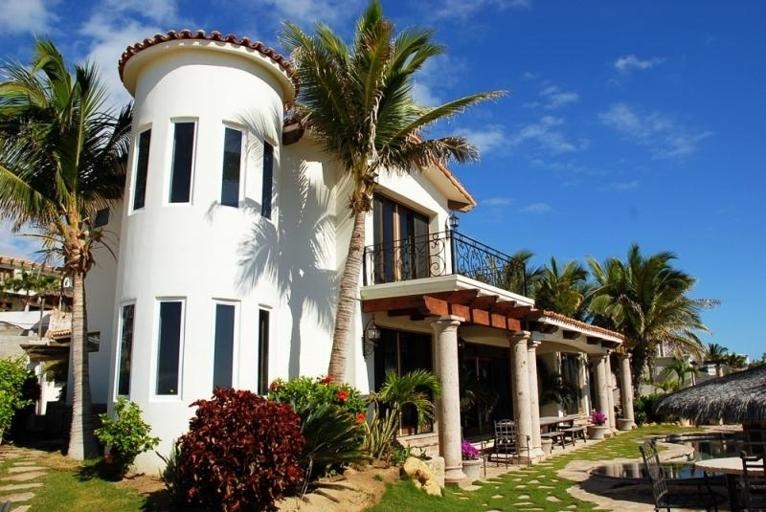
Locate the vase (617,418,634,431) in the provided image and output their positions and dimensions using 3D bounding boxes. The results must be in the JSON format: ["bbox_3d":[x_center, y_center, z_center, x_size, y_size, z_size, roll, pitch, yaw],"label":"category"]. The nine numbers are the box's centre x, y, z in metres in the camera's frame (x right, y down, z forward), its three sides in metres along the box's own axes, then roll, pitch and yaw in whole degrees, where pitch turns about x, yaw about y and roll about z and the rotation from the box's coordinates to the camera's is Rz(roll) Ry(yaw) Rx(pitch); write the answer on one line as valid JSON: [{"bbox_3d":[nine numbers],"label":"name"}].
[{"bbox_3d":[14.056,9.752,29.767,0.666,0.409,0.670,14,-24,-40],"label":"vase"}]

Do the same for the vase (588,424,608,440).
[{"bbox_3d":[10.983,9.019,26.412,0.711,0.513,0.722,1,-9,8],"label":"vase"}]

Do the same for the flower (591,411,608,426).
[{"bbox_3d":[11.431,8.486,27.012,0.728,0.771,0.771,1,-11,4],"label":"flower"}]

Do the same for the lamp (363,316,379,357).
[{"bbox_3d":[-0.301,2.705,16.795,0.476,1.214,0.734,-7,-17,25],"label":"lamp"}]

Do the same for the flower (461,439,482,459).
[{"bbox_3d":[2.851,6.342,16.717,0.528,0.470,0.581,-3,-16,13],"label":"flower"}]

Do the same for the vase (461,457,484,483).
[{"bbox_3d":[2.870,6.815,16.370,0.719,0.488,0.731,-4,-15,13],"label":"vase"}]
